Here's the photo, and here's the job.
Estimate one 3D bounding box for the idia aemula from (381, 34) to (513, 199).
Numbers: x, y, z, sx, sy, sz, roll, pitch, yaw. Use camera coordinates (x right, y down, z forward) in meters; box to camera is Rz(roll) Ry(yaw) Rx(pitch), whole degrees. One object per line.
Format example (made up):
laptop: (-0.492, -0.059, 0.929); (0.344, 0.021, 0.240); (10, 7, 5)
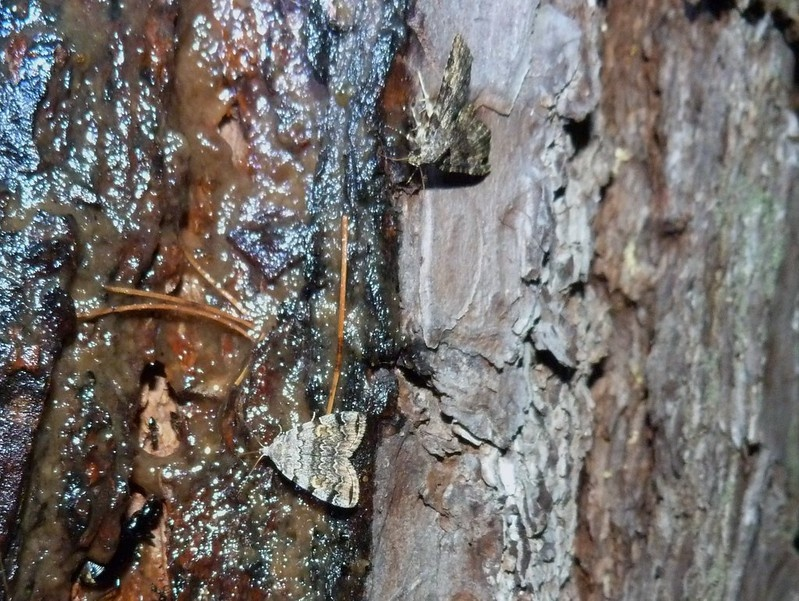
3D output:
idia aemula: (0.159, -0.686, 5.527); (0.470, 0.501, 0.375); (14, 51, -7)
